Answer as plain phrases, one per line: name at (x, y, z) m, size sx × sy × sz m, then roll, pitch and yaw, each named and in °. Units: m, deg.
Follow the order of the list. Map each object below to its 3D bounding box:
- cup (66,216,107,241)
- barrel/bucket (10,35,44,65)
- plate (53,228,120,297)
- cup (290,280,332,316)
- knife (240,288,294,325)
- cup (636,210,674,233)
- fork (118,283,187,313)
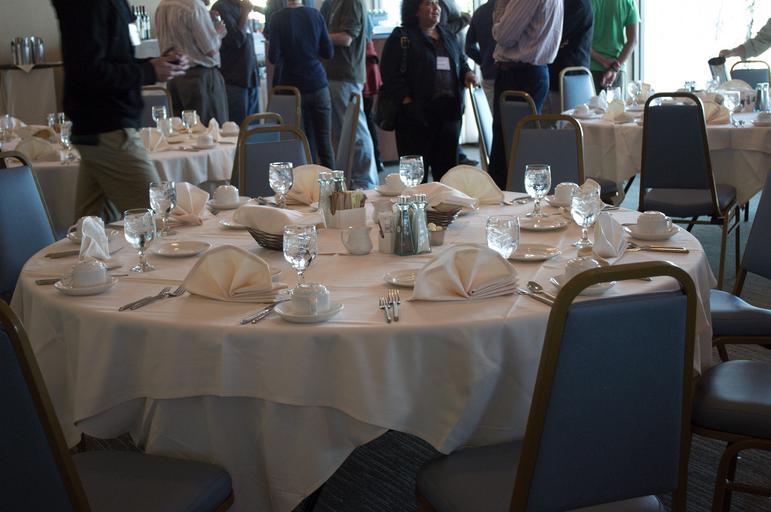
cup at (-1.311, -0.117, 2.731) m, size 0.122 × 0.071 × 0.155 m, roll 7°, pitch 27°, yaw 14°
barrel/bucket at (-4.591, -2.600, 8.065) m, size 0.416 × 0.488 × 0.412 m, roll 2°, pitch 12°, yaw 0°
plate at (-1.073, 0.016, 2.224) m, size 0.202 × 0.109 × 0.200 m, roll 4°, pitch 13°, yaw 9°
cup at (-0.242, 0.141, 2.007) m, size 0.105 × 0.117 × 0.158 m, roll -4°, pitch 8°, yaw -9°
knife at (-0.389, 0.151, 2.038) m, size 0.062 × 0.016 × 0.275 m, roll 4°, pitch 15°, yaw 11°
cup at (1.103, -0.147, 2.553) m, size 0.101 × 0.087 × 0.089 m, roll 1°, pitch 7°, yaw 6°
fork at (-0.795, 0.148, 2.128) m, size 0.035 × 0.037 × 0.245 m, roll -36°, pitch -10°, yaw 31°
